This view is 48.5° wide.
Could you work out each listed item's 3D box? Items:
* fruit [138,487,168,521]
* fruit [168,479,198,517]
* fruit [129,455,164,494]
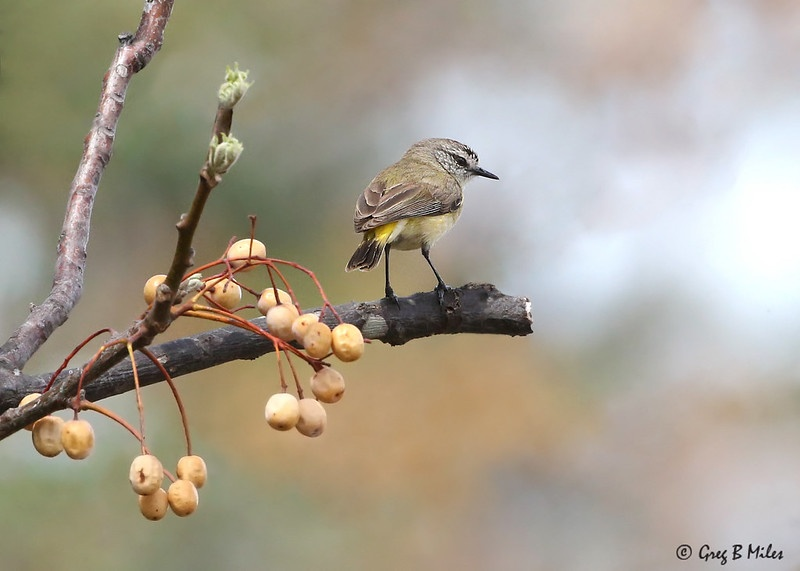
[{"bbox_3d":[-0.731,0.643,2.615,0.040,0.086,0.091,-6,-85,43],"label":"fruit"},{"bbox_3d":[-0.636,0.614,2.636,0.081,0.080,0.114,-13,-92,-7],"label":"fruit"},{"bbox_3d":[-0.733,0.545,2.557,0.097,0.099,0.127,-9,-106,37],"label":"fruit"}]
